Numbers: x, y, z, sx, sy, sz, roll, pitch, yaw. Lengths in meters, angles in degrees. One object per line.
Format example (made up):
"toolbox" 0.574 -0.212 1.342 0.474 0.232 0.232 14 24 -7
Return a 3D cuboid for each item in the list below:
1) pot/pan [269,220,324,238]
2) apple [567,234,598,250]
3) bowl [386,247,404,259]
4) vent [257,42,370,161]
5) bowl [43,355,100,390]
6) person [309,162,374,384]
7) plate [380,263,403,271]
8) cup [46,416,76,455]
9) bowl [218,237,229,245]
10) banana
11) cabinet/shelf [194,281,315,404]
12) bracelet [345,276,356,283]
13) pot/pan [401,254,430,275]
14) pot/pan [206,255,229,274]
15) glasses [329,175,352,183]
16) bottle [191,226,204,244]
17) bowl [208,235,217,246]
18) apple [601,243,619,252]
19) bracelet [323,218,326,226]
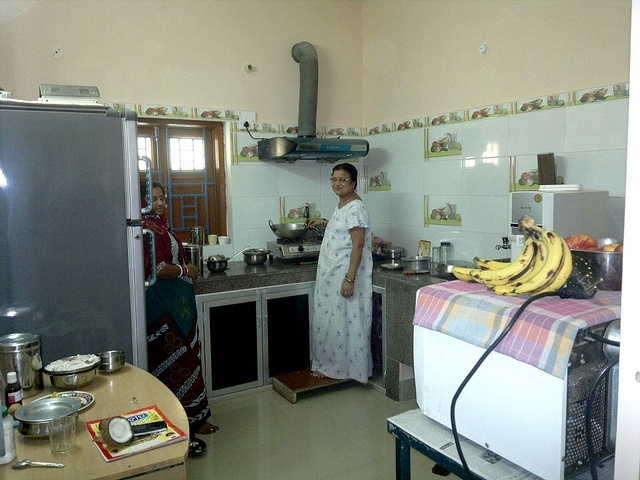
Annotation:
"pot/pan" -0.283 -0.091 4.033 0.351 0.158 0.216 2 2 30
"apple" 0.880 0.020 1.594 0.061 0.043 0.075 11 -9 -3
"bowl" 0.610 0.116 3.872 0.147 0.090 0.204 0 10 6
"vent" -0.097 -1.198 4.066 0.854 1.050 0.621 -5 10 -20
"bowl" -0.995 0.539 1.892 0.193 0.095 0.193 -2 4 0
"person" 0.158 0.276 3.586 0.478 1.689 0.340 -1 10 -1
"plate" 0.554 0.208 3.662 0.160 0.048 0.066 1 10 11
"cup" -0.799 0.606 1.490 0.086 0.104 0.108 0 -1 -23
"bowl" -0.838 0.005 4.099 0.069 0.046 0.070 -1 5 0
"banana" 0.576 0.067 1.489 0.371 0.222 0.222 -14 -3 -18
"cabinet/shelf" -0.526 0.775 3.537 0.863 0.742 0.331 -3 4 -31
"bracelet" 0.215 0.285 3.453 0.073 0.049 0.062 1 10 11
"pot/pan" 0.729 0.191 3.548 0.201 0.114 0.147 1 10 12
"pot/pan" -0.795 0.181 3.657 0.173 0.104 0.122 0 8 -5
"glasses" 0.160 -0.453 3.516 0.146 0.047 0.065 2 11 17
"bottle" -1.012 -0.036 3.961 0.138 0.143 0.089 1 3 36
"bowl" -0.921 0.000 4.057 0.079 0.089 0.081 1 3 0
"apple" 0.931 0.025 1.515 0.042 0.024 0.043 -5 1 11
"bracelet" 0.044 -0.161 4.154 0.040 0.059 0.047 5 15 12
